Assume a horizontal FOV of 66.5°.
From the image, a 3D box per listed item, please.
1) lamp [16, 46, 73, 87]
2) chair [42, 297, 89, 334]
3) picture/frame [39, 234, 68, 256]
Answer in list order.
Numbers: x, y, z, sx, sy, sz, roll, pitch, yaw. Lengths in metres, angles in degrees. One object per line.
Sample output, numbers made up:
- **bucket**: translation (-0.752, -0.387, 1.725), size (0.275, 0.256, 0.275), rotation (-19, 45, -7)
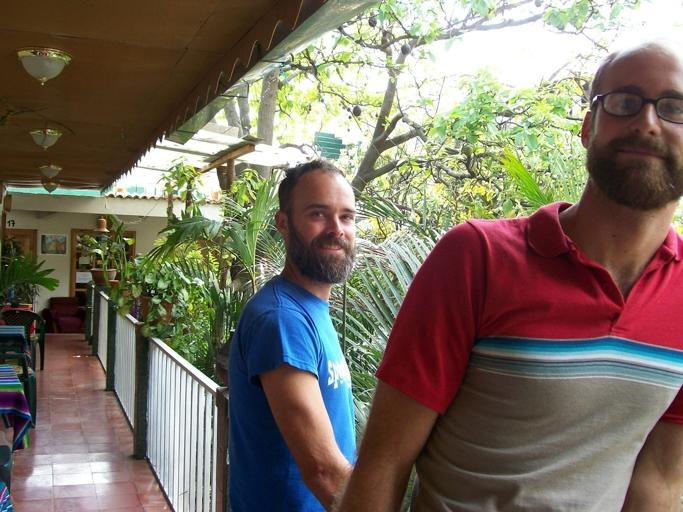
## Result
- **lamp**: translation (-1.867, -1.197, 3.290), size (0.218, 0.154, 0.243), rotation (-2, 15, -6)
- **chair**: translation (-7.549, 1.663, 14.280), size (0.979, 0.991, 1.152), rotation (2, -1, 36)
- **picture/frame**: translation (-8.261, -0.325, 14.873), size (0.570, 0.518, 0.081), rotation (-2, -2, -20)
